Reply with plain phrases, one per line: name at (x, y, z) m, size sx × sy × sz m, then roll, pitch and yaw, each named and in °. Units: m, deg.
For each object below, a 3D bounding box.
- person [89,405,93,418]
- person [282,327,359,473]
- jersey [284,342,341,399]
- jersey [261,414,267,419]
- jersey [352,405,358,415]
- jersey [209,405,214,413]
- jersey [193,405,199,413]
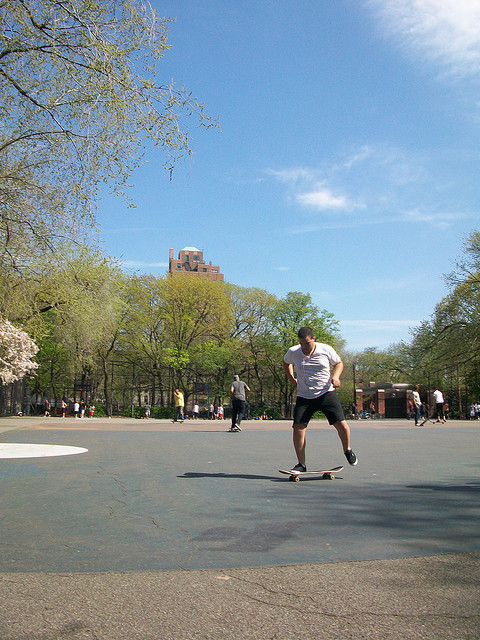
person at (-10.974, 6.736, 39.161) m, size 0.234 × 0.722 × 1.235 m, roll 1°, pitch -9°, yaw -16°
person at (0.940, 0.949, 6.309) m, size 0.847 × 1.713 × 0.704 m, roll 7°, pitch -12°, yaw -44°
jersey at (0.901, 0.610, 6.361) m, size 0.675 × 0.611 × 0.363 m, roll -5°, pitch 3°, yaw 27°
jersey at (1.959, 7.655, 42.053) m, size 0.305 × 0.340 × 0.648 m, roll -2°, pitch -9°, yaw 2°
jersey at (10.877, 8.493, 50.271) m, size 0.408 × 0.872 × 0.841 m, roll -3°, pitch -9°, yaw 11°
jersey at (-2.340, 7.171, 42.701) m, size 0.214 × 0.453 × 0.622 m, roll 0°, pitch -9°, yaw -11°
jersey at (-3.395, 7.163, 42.791) m, size 0.562 × 0.674 × 0.401 m, roll 5°, pitch -12°, yaw -11°
